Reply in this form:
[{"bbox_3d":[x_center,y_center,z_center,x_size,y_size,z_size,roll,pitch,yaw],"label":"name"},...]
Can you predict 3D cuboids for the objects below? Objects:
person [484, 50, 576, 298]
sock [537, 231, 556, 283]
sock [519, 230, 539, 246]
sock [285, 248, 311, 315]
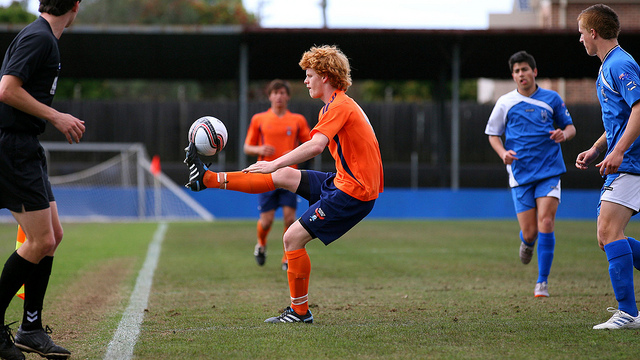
[{"bbox_3d":[3.715,-0.165,14.268,1.300,4.150,1.097,2,9,25],"label":"person"},{"bbox_3d":[3.954,1.362,14.092,0.278,0.888,0.578,1,8,15],"label":"sock"},{"bbox_3d":[3.728,1.022,14.325,0.300,0.304,0.386,0,8,8],"label":"sock"},{"bbox_3d":[-0.318,1.643,13.037,0.425,1.156,0.491,-3,-6,-28],"label":"sock"}]
